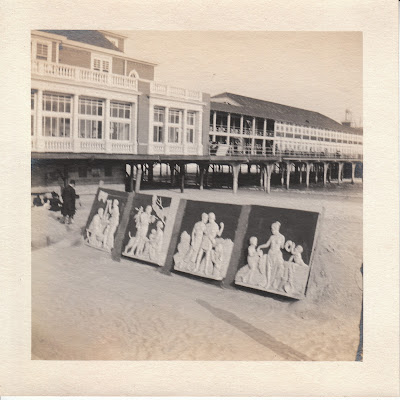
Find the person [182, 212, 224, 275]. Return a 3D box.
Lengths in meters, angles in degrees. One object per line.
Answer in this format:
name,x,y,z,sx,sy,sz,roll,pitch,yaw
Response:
person,0.073,0.891,11.001,0.806,1.280,0.256,7,6,33

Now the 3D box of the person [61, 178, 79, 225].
person,-3.706,0.028,14.887,0.386,1.199,0.652,2,5,-16

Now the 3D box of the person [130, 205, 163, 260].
person,-1.358,0.701,12.076,0.374,1.205,0.788,0,6,-37
